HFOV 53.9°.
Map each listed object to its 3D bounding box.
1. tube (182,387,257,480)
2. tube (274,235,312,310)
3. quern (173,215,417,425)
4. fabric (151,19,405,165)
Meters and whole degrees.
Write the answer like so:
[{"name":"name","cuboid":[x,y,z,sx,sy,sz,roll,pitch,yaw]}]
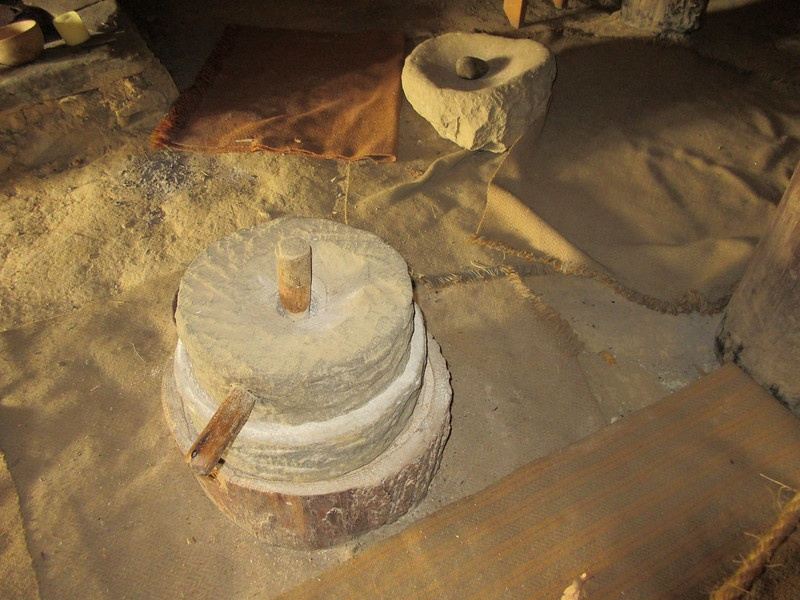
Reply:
[{"name":"tube","cuboid":[-0.679,0.504,3.037,0.177,0.103,0.395,30,73,8]},{"name":"tube","cuboid":[-0.418,-0.093,3.081,0.142,0.266,0.137,-23,49,-30]},{"name":"quern","cuboid":[-0.426,0.060,3.365,0.998,0.352,1.001,37,51,27]},{"name":"fabric","cuboid":[-0.748,-1.403,5.363,1.225,0.138,1.241,5,48,3]}]
